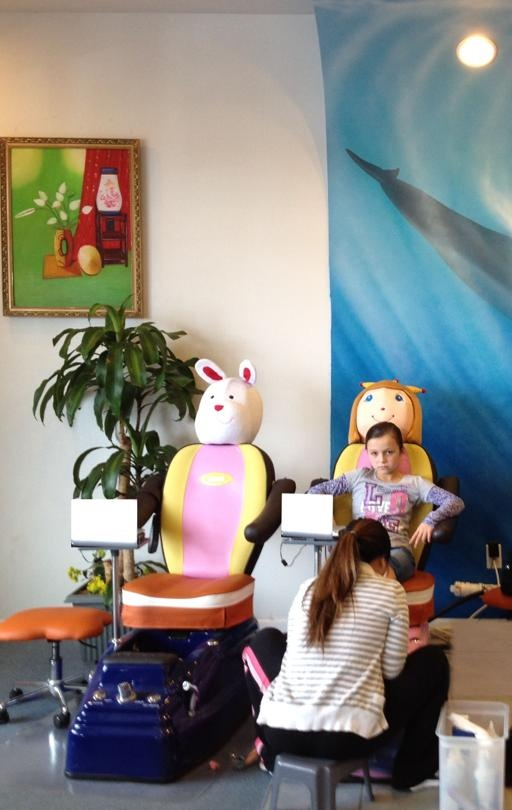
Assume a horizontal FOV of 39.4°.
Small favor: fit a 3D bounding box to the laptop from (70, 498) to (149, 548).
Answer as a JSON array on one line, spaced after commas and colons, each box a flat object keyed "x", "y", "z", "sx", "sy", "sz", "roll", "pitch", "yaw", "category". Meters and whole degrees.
[{"x": -0.460, "y": 0.363, "z": 2.185, "sx": 0.211, "sy": 0.141, "sz": 0.147, "roll": 0, "pitch": -4, "yaw": 3, "category": "laptop"}]

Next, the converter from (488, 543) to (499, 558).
[{"x": 1.058, "y": 0.647, "z": 3.190, "sx": 0.056, "sy": 0.081, "sz": 0.059, "roll": -2, "pitch": 4, "yaw": 13, "category": "converter"}]

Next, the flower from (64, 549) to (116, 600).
[{"x": -0.733, "y": 0.755, "z": 3.184, "sx": 0.213, "sy": 0.189, "sz": 0.255, "roll": 11, "pitch": 3, "yaw": -15, "category": "flower"}]

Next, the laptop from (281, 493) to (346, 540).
[{"x": 0.175, "y": 0.336, "z": 2.184, "sx": 0.184, "sy": 0.164, "sz": 0.131, "roll": 0, "pitch": 1, "yaw": 21, "category": "laptop"}]

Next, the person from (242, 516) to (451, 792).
[{"x": 0.264, "y": 0.671, "z": 1.749, "sx": 0.273, "sy": 0.789, "sz": 0.499, "roll": 0, "pitch": 3, "yaw": 45, "category": "person"}]

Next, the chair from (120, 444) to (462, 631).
[{"x": 0.164, "y": 0.448, "z": 2.417, "sx": 0.576, "sy": 0.611, "sz": 0.923, "roll": -6, "pitch": -13, "yaw": 40, "category": "chair"}]
